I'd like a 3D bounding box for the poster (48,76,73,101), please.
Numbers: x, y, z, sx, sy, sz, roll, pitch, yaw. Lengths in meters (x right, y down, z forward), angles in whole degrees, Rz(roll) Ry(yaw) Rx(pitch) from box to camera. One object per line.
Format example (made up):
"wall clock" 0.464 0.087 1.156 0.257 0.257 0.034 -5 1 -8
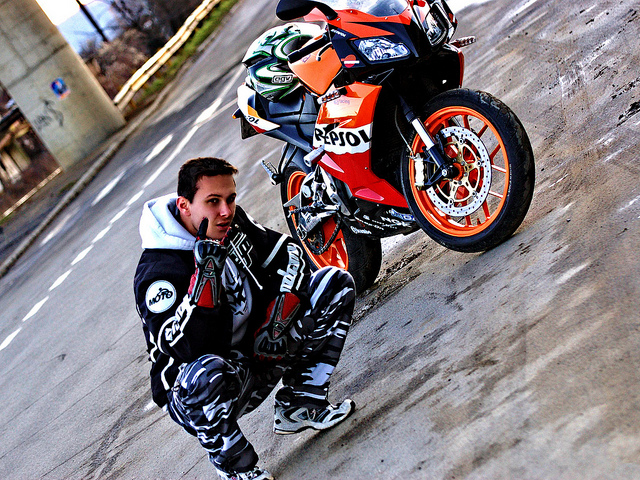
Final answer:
"poster" -6.539 -3.845 17.851 0.124 0.484 0.468 11 47 48

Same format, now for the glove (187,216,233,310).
"glove" -0.707 0.163 4.514 0.277 0.550 0.146 2 -4 -11

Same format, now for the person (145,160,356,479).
"person" -0.464 0.611 4.835 1.312 2.008 1.153 -23 -7 -39
